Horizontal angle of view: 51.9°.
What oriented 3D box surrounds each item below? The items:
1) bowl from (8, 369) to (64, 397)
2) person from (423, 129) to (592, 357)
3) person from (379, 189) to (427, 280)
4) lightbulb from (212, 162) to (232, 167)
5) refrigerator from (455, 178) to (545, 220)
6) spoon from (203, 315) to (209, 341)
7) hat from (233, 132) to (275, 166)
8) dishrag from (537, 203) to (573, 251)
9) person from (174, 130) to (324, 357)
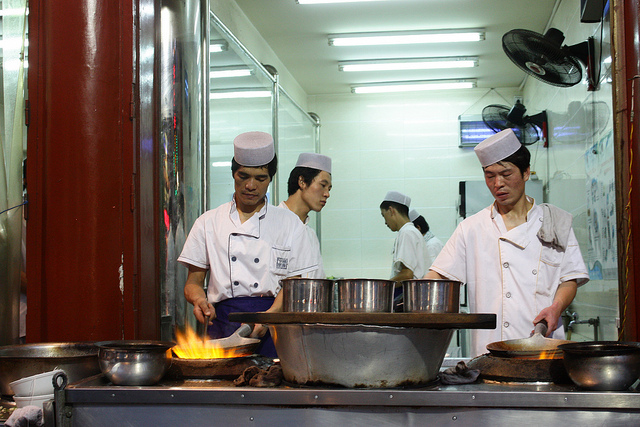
[{"bbox_3d":[-1.223,0.726,2.792,0.156,0.075,0.164,-12,-15,-3],"label":"bowl"},{"bbox_3d":[1.019,0.149,3.540,0.758,1.205,0.358,-2,-3,33],"label":"person"},{"bbox_3d":[0.842,0.205,6.495,0.392,1.243,0.621,-5,-27,19],"label":"person"},{"bbox_3d":[-0.786,-0.390,5.210,0.151,0.048,0.059,1,-4,-33],"label":"lightbulb"},{"bbox_3d":[1.907,-0.134,7.231,0.679,0.509,0.391,-1,9,20],"label":"refrigerator"},{"bbox_3d":[-0.560,0.565,3.275,0.021,0.153,0.022,9,-14,-30],"label":"spoon"},{"bbox_3d":[-0.360,-0.356,3.550,0.185,0.097,0.195,1,29,0],"label":"hat"},{"bbox_3d":[1.253,0.072,3.495,0.165,0.248,0.115,-2,-3,23],"label":"dishrag"},{"bbox_3d":[-0.436,0.149,3.552,0.757,1.223,0.839,-1,-3,18],"label":"person"}]
